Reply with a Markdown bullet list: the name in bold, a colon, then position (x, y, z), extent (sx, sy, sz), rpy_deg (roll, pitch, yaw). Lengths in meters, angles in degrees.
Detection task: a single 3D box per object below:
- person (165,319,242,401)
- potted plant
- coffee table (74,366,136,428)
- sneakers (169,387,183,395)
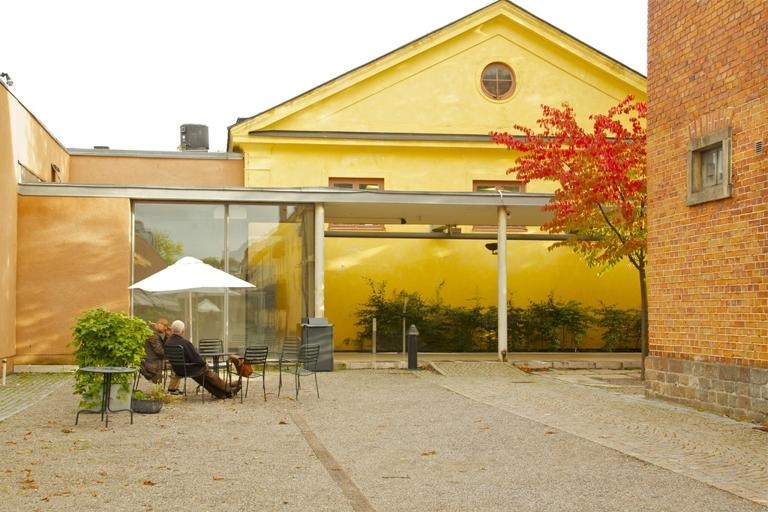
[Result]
- **person**: position (-3.710, 2.150, 15.277), extent (1.339, 1.620, 0.590), rpy_deg (0, 3, -20)
- **potted plant**: position (-5.303, 1.723, 14.269), extent (2.064, 2.156, 1.633), rpy_deg (1, 2, 41)
- **coffee table**: position (-4.884, 2.454, 13.371), extent (1.073, 1.062, 1.038), rpy_deg (2, -1, -9)
- **sneakers**: position (-4.394, 2.862, 15.949), extent (0.353, 0.234, 0.124), rpy_deg (1, 2, -15)
